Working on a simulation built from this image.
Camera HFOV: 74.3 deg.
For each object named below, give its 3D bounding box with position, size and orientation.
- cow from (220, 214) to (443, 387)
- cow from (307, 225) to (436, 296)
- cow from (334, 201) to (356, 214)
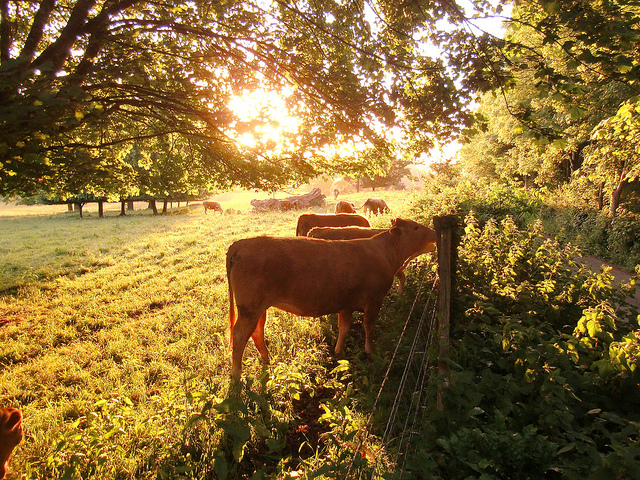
[{"bbox_3d":[0.431,0.918,7.743,4.135,2.763,1.228,-4,10,-20],"label":"cow"},{"bbox_3d":[1.165,0.332,9.215,3.369,1.821,1.158,-2,9,0],"label":"cow"},{"bbox_3d":[1.080,-1.474,18.637,0.667,0.474,1.086,1,9,-7],"label":"cow"}]
